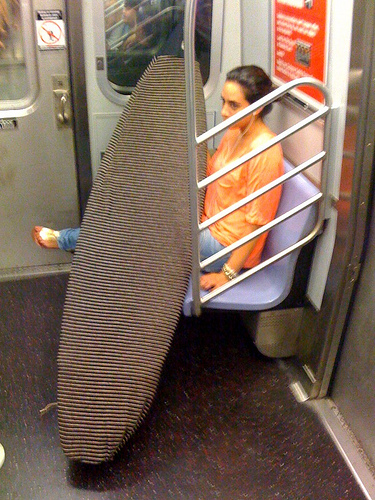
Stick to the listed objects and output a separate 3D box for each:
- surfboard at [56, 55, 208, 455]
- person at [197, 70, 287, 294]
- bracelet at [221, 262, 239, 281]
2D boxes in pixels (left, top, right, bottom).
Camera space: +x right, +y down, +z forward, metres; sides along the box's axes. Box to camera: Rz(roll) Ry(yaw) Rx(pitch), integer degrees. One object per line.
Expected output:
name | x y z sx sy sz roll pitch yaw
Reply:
surfboard | -0.246 -0.025 1.564 0.464 1.150 0.900 0 31 -1
person | 0.220 -0.253 1.630 0.349 0.844 0.724 6 31 9
bracelet | 0.172 0.090 1.709 0.025 0.067 0.051 -39 48 -7
